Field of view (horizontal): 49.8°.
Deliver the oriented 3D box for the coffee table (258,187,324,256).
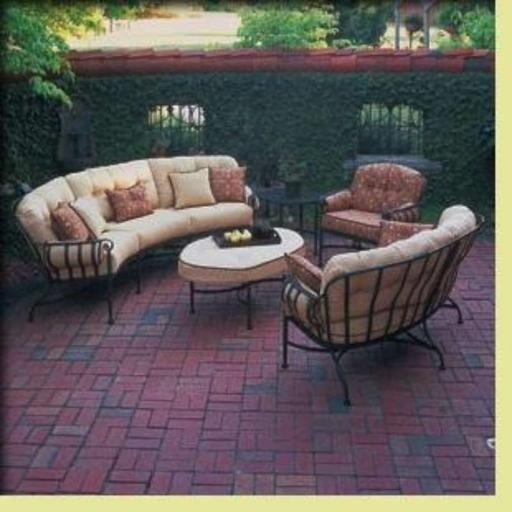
[{"bbox_3d":[0.565,-0.655,7.487,0.962,1.088,1.019,-2,16,-5],"label":"coffee table"}]
